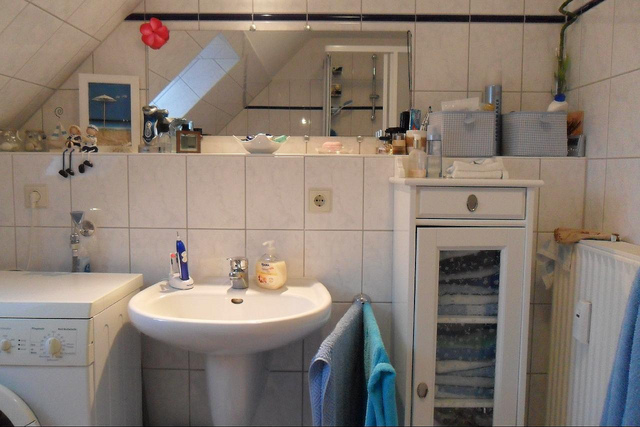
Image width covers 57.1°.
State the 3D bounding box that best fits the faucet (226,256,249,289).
[{"bbox_3d":[-0.432,0.315,3.119,0.106,0.171,0.168,4,12,24],"label":"faucet"}]

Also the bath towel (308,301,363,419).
[{"bbox_3d":[0.087,0.719,2.709,0.124,0.545,0.486,-1,-1,20],"label":"bath towel"}]

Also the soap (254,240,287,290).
[{"bbox_3d":[-0.257,0.276,3.124,0.234,0.356,0.135,1,-2,7],"label":"soap"}]

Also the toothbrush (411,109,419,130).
[{"bbox_3d":[0.531,-0.527,3.288,0.021,0.098,0.067,-1,-2,42],"label":"toothbrush"}]

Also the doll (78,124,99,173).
[{"bbox_3d":[-1.293,-0.370,3.302,0.101,0.302,0.276,0,-1,-20],"label":"doll"}]

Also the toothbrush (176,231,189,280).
[{"bbox_3d":[-0.723,0.231,3.102,0.064,0.230,0.105,0,-1,-16],"label":"toothbrush"}]

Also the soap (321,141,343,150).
[{"bbox_3d":[0.067,-0.369,3.230,0.102,0.036,0.022,0,-1,-2],"label":"soap"}]

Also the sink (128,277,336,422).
[{"bbox_3d":[-0.449,0.704,2.987,1.050,0.716,0.557,0,-1,1],"label":"sink"}]

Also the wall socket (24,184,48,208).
[{"bbox_3d":[-1.537,-0.101,3.189,0.117,0.130,0.014,1,2,-1],"label":"wall socket"}]
